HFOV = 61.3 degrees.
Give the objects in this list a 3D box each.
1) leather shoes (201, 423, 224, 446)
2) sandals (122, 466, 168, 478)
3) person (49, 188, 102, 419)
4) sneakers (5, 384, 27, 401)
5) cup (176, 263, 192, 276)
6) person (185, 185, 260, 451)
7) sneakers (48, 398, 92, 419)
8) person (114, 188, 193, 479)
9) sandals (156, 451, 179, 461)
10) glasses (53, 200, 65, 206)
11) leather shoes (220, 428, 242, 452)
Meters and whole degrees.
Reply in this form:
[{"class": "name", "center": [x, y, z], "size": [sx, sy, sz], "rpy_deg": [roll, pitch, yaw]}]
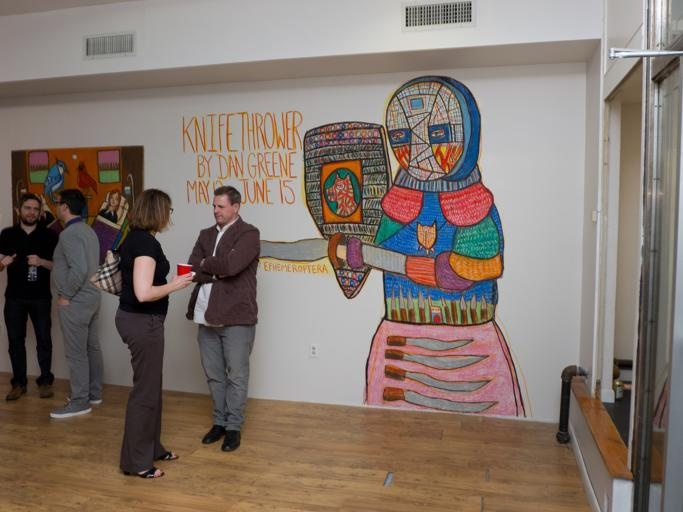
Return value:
[{"class": "leather shoes", "center": [-1.027, 1.425, 4.542], "size": [0.071, 0.094, 0.210], "rpy_deg": [3, -3, 17]}, {"class": "sandals", "center": [-1.404, 1.533, 4.076], "size": [0.219, 0.059, 0.109], "rpy_deg": [0, 0, 0]}, {"class": "person", "center": [-2.377, 0.412, 5.054], "size": [0.430, 1.952, 0.500], "rpy_deg": [-3, 9, -15]}, {"class": "sneakers", "center": [-3.095, 1.297, 5.432], "size": [0.072, 0.091, 0.230], "rpy_deg": [1, -3, -6]}, {"class": "cup", "center": [-1.095, 0.095, 3.992], "size": [0.081, 0.075, 0.091], "rpy_deg": [2, 5, -4]}, {"class": "person", "center": [-0.977, 0.461, 4.544], "size": [0.549, 1.988, 0.524], "rpy_deg": [3, 9, 23]}, {"class": "sneakers", "center": [-2.365, 1.331, 4.994], "size": [0.334, 0.153, 0.127], "rpy_deg": [3, 1, -30]}, {"class": "person", "center": [-1.357, 0.551, 4.034], "size": [0.505, 1.997, 0.402], "rpy_deg": [-4, 9, -22]}, {"class": "sandals", "center": [-1.300, 1.486, 4.269], "size": [0.153, 0.046, 0.066], "rpy_deg": [0, 14, -30]}, {"class": "glasses", "center": [-2.638, -0.496, 5.343], "size": [0.099, 0.035, 0.106], "rpy_deg": [1, 5, 16]}, {"class": "leather shoes", "center": [-0.859, 1.422, 4.449], "size": [0.151, 0.120, 0.173], "rpy_deg": [-3, 11, -13]}]
